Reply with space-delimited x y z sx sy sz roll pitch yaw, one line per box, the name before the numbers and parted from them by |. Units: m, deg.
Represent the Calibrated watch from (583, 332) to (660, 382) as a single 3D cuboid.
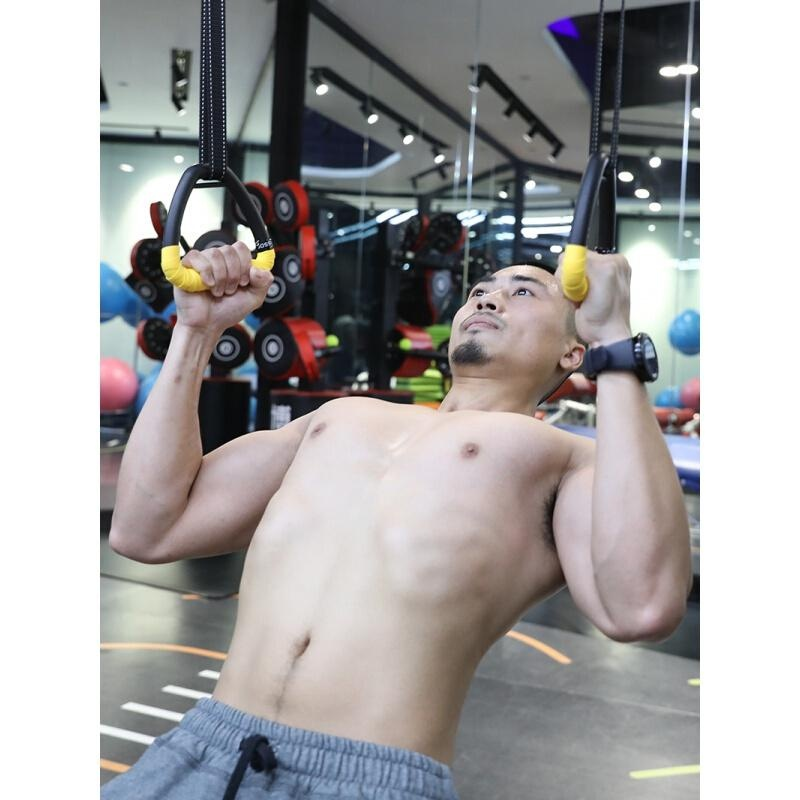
Calibrated watch | 0.288 -0.052 1.075 0.078 0.066 0.092 -10 -11 22
